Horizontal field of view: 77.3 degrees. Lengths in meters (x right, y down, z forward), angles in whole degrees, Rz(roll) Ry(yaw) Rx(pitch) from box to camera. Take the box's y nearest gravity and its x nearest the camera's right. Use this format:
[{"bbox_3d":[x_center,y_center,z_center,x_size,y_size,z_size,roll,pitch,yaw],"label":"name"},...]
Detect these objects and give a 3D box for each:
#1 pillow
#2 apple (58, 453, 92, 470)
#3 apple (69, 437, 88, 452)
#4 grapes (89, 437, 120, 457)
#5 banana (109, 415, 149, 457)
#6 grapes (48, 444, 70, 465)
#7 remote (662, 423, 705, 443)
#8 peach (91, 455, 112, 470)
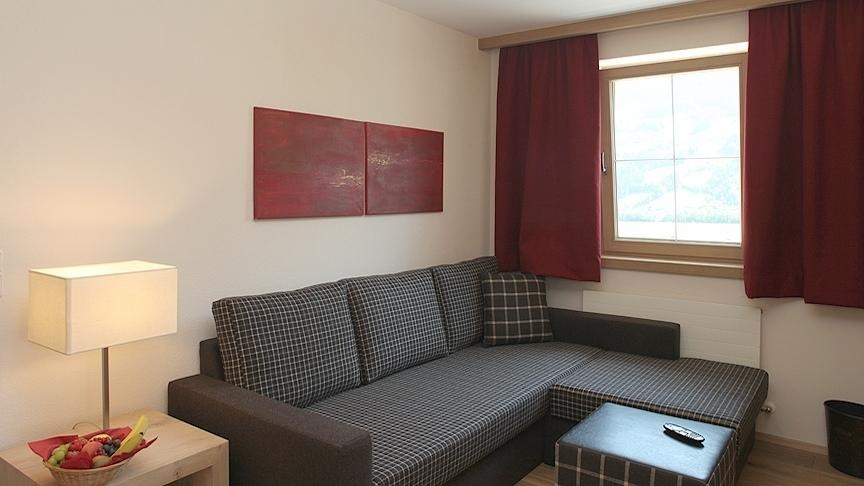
[{"bbox_3d":[0.759,0.597,4.901,0.723,0.606,0.183,-2,-15,-20],"label":"pillow"},{"bbox_3d":[-1.946,1.195,2.961,0.106,0.032,0.090,3,4,-21],"label":"apple"},{"bbox_3d":[-2.003,1.145,3.053,0.054,0.031,0.066,-2,3,-8],"label":"apple"},{"bbox_3d":[-1.828,1.152,3.048,0.103,0.041,0.094,9,-2,-37],"label":"grapes"},{"bbox_3d":[-1.731,1.114,3.123,0.096,0.074,0.255,9,20,-7],"label":"banana"},{"bbox_3d":[-2.066,1.172,3.001,0.110,0.034,0.064,-17,-7,22],"label":"grapes"},{"bbox_3d":[1.653,1.246,3.556,0.176,0.040,0.094,11,12,39],"label":"remote"},{"bbox_3d":[-1.823,1.207,2.979,0.101,0.053,0.044,-4,9,-9],"label":"peach"}]
